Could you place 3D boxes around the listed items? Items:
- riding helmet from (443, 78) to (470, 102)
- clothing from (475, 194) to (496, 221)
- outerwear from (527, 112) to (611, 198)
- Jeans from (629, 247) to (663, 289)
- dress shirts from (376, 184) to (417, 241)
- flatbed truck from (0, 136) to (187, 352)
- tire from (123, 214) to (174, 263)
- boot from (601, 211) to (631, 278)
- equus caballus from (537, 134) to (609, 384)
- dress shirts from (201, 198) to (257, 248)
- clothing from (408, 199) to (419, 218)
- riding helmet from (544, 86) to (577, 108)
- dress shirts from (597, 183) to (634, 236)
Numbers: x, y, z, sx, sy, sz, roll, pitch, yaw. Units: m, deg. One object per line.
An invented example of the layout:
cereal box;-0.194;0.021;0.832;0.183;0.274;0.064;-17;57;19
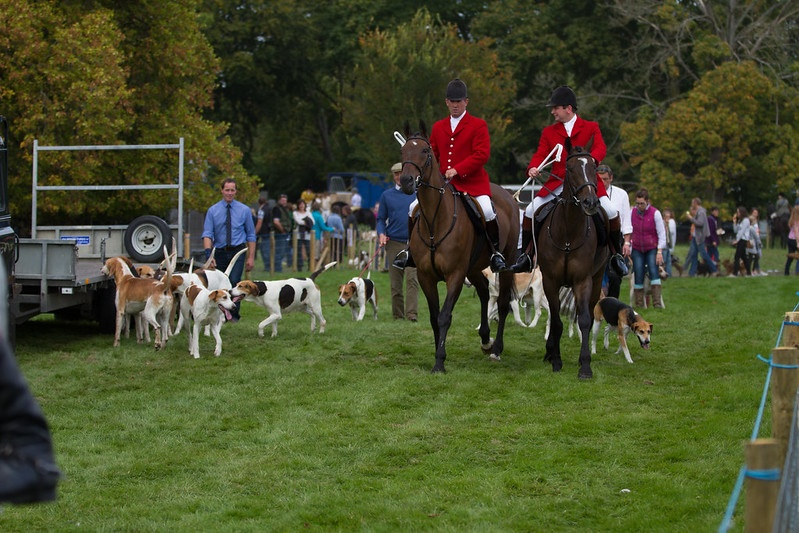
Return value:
riding helmet;1.299;-4.057;27.724;0.445;0.567;0.522;0;-1;3
clothing;1.985;-1.370;27.744;0.349;0.653;0.198;1;-10;-32
outerwear;3.696;-2.622;27.946;1.796;2.649;1.629;1;2;17
Jeans;6.492;-0.035;32.503;1.103;1.171;0.324;1;7;-44
dress shirts;-0.006;-1.344;31.287;1.192;1.391;0.734;-3;-2;-20
flatbed truck;-7.437;-1.020;29.377;2.974;3.852;4.959;0;1;4
tire;-6.312;-0.662;30.376;1.051;1.320;0.393;2;1;5
boot;4.989;-0.437;27.789;0.436;1.805;0.421;2;-3;38
equus caballus;3.877;-0.161;27.151;1.550;5.278;2.023;0;-1;10
dress shirts;-4.304;-1.182;30.346;1.233;1.295;0.715;-2;25;-13
clothing;0.288;-1.353;28.082;0.331;0.389;0.285;3;-1;3
riding helmet;3.719;-3.854;27.541;0.530;0.385;0.452;4;7;-4
dress shirts;5.356;-1.294;29.313;0.804;1.103;0.399;17;44;43
